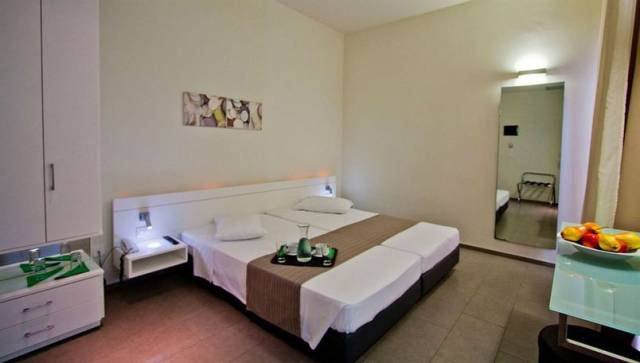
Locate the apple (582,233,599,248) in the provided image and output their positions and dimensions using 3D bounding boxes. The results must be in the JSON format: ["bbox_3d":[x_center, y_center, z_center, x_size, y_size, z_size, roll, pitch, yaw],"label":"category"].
[{"bbox_3d":[2.910,0.627,4.181,0.147,0.141,0.141,4,-1,-22],"label":"apple"}]

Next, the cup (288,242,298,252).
[{"bbox_3d":[-0.353,0.836,4.960,0.112,0.066,0.107,-2,-1,0],"label":"cup"}]

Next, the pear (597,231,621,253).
[{"bbox_3d":[3.042,0.644,4.089,0.161,0.132,0.219,-17,13,25],"label":"pear"}]

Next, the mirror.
[{"bbox_3d":[3.223,-0.237,5.983,0.830,2.447,0.345,1,12,29],"label":"mirror"}]

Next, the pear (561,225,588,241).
[{"bbox_3d":[2.797,0.548,4.283,0.219,0.108,0.158,-9,10,-15],"label":"pear"}]

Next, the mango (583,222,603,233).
[{"bbox_3d":[3.008,0.505,4.316,0.210,0.119,0.157,3,10,31],"label":"mango"}]

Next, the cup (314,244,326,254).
[{"bbox_3d":[0.011,0.842,4.879,0.107,0.085,0.137,8,15,36],"label":"cup"}]

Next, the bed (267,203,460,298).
[{"bbox_3d":[0.416,0.984,5.100,1.472,0.369,1.634,3,8,36],"label":"bed"}]

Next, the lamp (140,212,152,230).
[{"bbox_3d":[-2.361,0.533,5.286,0.132,0.265,0.106,-7,10,-18],"label":"lamp"}]

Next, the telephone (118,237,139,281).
[{"bbox_3d":[-2.545,1.018,5.043,0.176,0.479,0.374,15,-2,-39],"label":"telephone"}]
